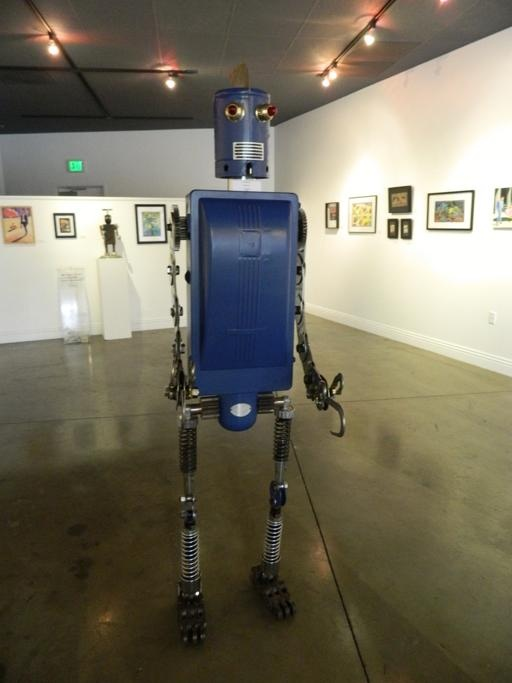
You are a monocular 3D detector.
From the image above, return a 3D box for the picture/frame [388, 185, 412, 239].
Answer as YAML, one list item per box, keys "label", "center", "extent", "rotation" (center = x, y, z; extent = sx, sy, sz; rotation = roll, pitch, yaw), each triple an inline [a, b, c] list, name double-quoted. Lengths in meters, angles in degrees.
- label: "picture/frame"
  center: [1.689, -1.519, 5.976]
  extent: [0.053, 0.606, 0.455]
  rotation: [-4, 11, -19]

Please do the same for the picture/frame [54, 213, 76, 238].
- label: "picture/frame"
  center: [-2.443, -1.486, 6.415]
  extent: [0.267, 0.362, 0.024]
  rotation: [-4, 11, -29]

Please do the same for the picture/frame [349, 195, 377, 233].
- label: "picture/frame"
  center: [1.438, -1.722, 6.785]
  extent: [0.018, 0.476, 0.527]
  rotation: [-4, 13, -23]

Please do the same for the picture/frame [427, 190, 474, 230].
- label: "picture/frame"
  center: [2.000, -1.353, 5.173]
  extent: [0.017, 0.346, 0.452]
  rotation: [-7, 14, -25]
